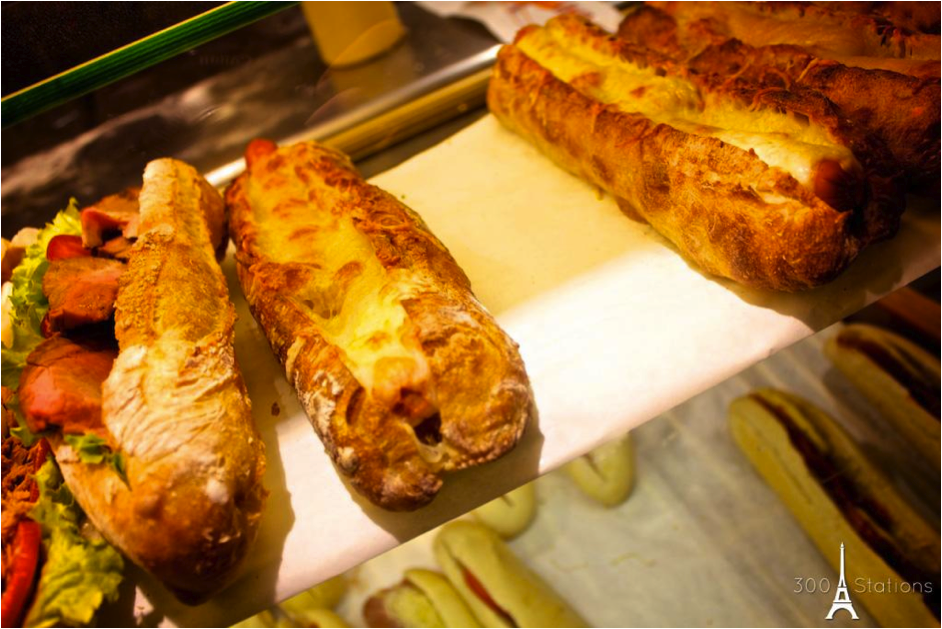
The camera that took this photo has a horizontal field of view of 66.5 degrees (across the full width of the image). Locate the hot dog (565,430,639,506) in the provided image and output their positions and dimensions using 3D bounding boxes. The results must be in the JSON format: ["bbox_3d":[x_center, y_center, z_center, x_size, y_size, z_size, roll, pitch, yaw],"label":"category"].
[{"bbox_3d":[0.421,0.502,2.208,0.231,0.039,0.182,-20,59,-6],"label":"hot dog"}]
